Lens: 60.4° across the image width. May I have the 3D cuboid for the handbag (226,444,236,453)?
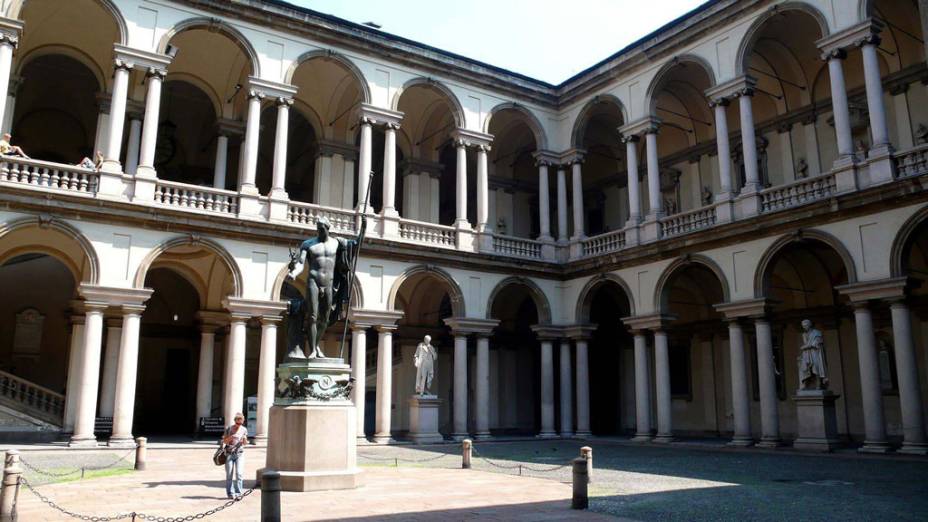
[{"bbox_3d":[-6.223,5.004,21.317,0.187,0.207,0.236,10,-31,-32],"label":"handbag"}]

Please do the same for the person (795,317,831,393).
[{"bbox_3d":[12.343,3.309,28.527,0.922,2.593,0.835,-6,-16,18],"label":"person"}]

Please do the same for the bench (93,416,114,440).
[{"bbox_3d":[-14.112,6.509,31.230,0.584,0.884,1.446,5,-15,-21],"label":"bench"}]

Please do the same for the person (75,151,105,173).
[{"bbox_3d":[-13.550,-3.599,29.086,0.742,1.012,0.994,6,-16,-25],"label":"person"}]

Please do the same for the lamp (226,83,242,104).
[{"bbox_3d":[-9.637,-6.962,33.288,0.683,0.413,0.353,-43,-61,17],"label":"lamp"}]

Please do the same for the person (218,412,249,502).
[{"bbox_3d":[-6.185,5.209,21.440,0.641,2.217,1.543,3,-16,-16],"label":"person"}]

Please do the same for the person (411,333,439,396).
[{"bbox_3d":[-1.587,4.241,32.703,0.774,2.483,1.377,0,-15,-6],"label":"person"}]

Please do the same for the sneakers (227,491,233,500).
[{"bbox_3d":[-6.207,6.194,21.191,0.218,0.185,0.068,-7,-16,20],"label":"sneakers"}]
